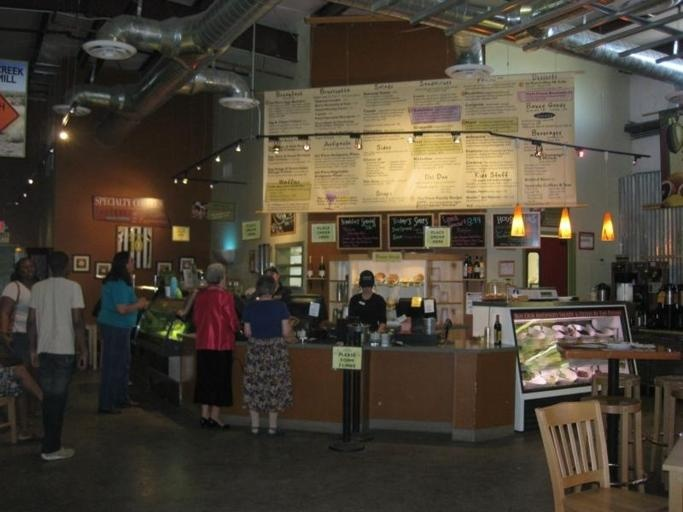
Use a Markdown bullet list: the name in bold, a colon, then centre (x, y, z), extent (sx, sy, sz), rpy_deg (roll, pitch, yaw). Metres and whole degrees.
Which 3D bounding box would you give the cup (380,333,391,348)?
- **cup**: centre (0.549, 1.021, 8.525), extent (0.118, 0.154, 0.084), rpy_deg (2, -1, 2)

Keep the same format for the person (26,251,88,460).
- **person**: centre (-3.127, 1.217, 7.605), extent (0.609, 1.808, 0.403), rpy_deg (2, -1, -16)

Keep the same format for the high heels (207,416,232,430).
- **high heels**: centre (-1.499, 2.078, 8.636), extent (0.324, 0.140, 0.111), rpy_deg (3, -4, -18)

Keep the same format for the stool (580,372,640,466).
- **stool**: centre (3.092, 1.673, 7.991), extent (0.632, 0.748, 0.631), rpy_deg (-1, 1, 22)

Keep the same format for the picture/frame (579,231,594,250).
- **picture/frame**: centre (4.837, -0.325, 13.791), extent (0.325, 0.321, 0.037), rpy_deg (7, -4, -24)

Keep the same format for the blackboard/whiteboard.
- **blackboard/whiteboard**: centre (1.618, -0.452, 11.961), extent (3.408, 0.757, 0.568), rpy_deg (2, -1, 7)

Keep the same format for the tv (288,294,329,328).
- **tv**: centre (-0.501, 0.767, 10.230), extent (0.354, 0.392, 0.421), rpy_deg (18, 2, 43)

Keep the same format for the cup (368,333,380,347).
- **cup**: centre (0.409, 1.029, 8.554), extent (0.142, 0.161, 0.144), rpy_deg (1, 0, 0)

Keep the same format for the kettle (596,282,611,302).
- **kettle**: centre (4.004, 0.558, 10.646), extent (0.190, 0.363, 0.352), rpy_deg (-7, -11, 44)

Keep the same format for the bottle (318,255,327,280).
- **bottle**: centre (-0.341, 0.194, 12.680), extent (0.159, 0.403, 0.434), rpy_deg (2, -1, -1)

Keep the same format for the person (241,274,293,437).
- **person**: centre (-0.886, 1.193, 8.389), extent (0.606, 1.905, 0.235), rpy_deg (2, -1, -4)

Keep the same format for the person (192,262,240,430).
- **person**: centre (-1.565, 1.110, 8.637), extent (0.561, 1.395, 0.361), rpy_deg (2, -1, -11)

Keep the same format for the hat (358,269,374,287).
- **hat**: centre (0.339, 0.303, 9.270), extent (0.191, 0.226, 0.307), rpy_deg (2, -1, 0)

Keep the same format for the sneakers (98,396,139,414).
- **sneakers**: centre (-2.998, 2.042, 9.370), extent (0.502, 0.219, 0.167), rpy_deg (-6, 7, -27)

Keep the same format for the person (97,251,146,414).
- **person**: centre (-2.957, 1.008, 9.311), extent (0.564, 1.675, 0.503), rpy_deg (2, -1, -22)

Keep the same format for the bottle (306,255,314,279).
- **bottle**: centre (-0.567, 0.190, 12.794), extent (0.120, 0.418, 0.297), rpy_deg (2, -1, -3)

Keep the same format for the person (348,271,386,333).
- **person**: centre (0.336, 0.584, 9.115), extent (0.506, 0.789, 0.760), rpy_deg (2, -1, 2)

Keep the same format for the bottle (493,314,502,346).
- **bottle**: centre (1.946, 0.915, 8.672), extent (0.103, 0.371, 0.358), rpy_deg (2, -1, 13)

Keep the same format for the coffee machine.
- **coffee machine**: centre (4.905, 0.523, 11.078), extent (0.823, 1.124, 0.907), rpy_deg (-8, 4, 0)

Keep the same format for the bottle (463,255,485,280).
- **bottle**: centre (2.230, 0.175, 11.711), extent (0.319, 0.384, 0.341), rpy_deg (2, -1, 12)

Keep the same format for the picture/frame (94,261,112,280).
- **picture/frame**: centre (-4.860, 0.284, 14.147), extent (0.429, 0.445, 0.042), rpy_deg (8, -9, -42)

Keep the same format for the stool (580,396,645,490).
- **stool**: centre (2.821, 1.983, 7.179), extent (0.635, 0.910, 0.608), rpy_deg (7, -13, -29)
